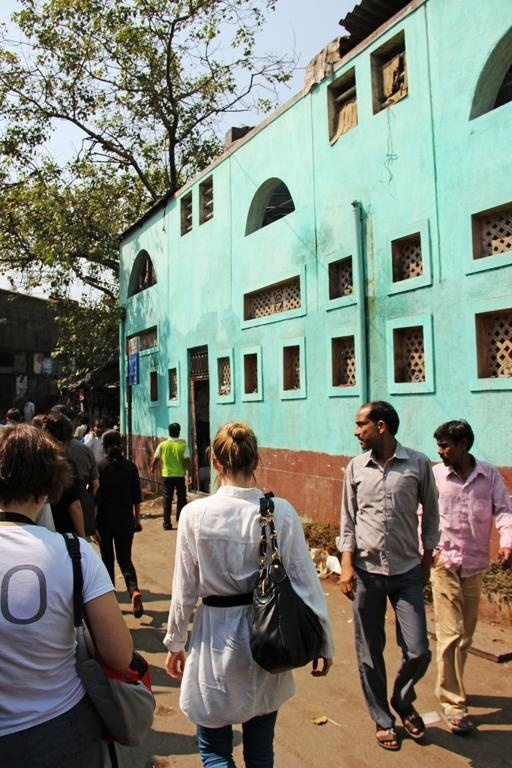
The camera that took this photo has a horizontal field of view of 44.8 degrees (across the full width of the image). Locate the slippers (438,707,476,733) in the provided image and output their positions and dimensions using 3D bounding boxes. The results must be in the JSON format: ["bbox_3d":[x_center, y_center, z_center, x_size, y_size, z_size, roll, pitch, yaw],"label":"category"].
[{"bbox_3d":[1.077,1.798,3.342,0.069,0.090,0.200,2,-15,-11],"label":"slippers"}]

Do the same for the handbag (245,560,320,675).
[{"bbox_3d":[0.108,0.790,2.127,0.235,0.375,0.183,15,-32,-42],"label":"handbag"}]

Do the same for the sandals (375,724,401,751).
[{"bbox_3d":[0.687,1.818,3.241,0.126,0.084,0.197,-2,-2,9],"label":"sandals"}]

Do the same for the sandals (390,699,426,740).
[{"bbox_3d":[0.820,1.766,3.334,0.084,0.082,0.261,-6,4,-6],"label":"sandals"}]

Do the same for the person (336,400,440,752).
[{"bbox_3d":[0.692,0.976,3.296,0.530,1.766,0.372,-2,-1,18],"label":"person"}]
